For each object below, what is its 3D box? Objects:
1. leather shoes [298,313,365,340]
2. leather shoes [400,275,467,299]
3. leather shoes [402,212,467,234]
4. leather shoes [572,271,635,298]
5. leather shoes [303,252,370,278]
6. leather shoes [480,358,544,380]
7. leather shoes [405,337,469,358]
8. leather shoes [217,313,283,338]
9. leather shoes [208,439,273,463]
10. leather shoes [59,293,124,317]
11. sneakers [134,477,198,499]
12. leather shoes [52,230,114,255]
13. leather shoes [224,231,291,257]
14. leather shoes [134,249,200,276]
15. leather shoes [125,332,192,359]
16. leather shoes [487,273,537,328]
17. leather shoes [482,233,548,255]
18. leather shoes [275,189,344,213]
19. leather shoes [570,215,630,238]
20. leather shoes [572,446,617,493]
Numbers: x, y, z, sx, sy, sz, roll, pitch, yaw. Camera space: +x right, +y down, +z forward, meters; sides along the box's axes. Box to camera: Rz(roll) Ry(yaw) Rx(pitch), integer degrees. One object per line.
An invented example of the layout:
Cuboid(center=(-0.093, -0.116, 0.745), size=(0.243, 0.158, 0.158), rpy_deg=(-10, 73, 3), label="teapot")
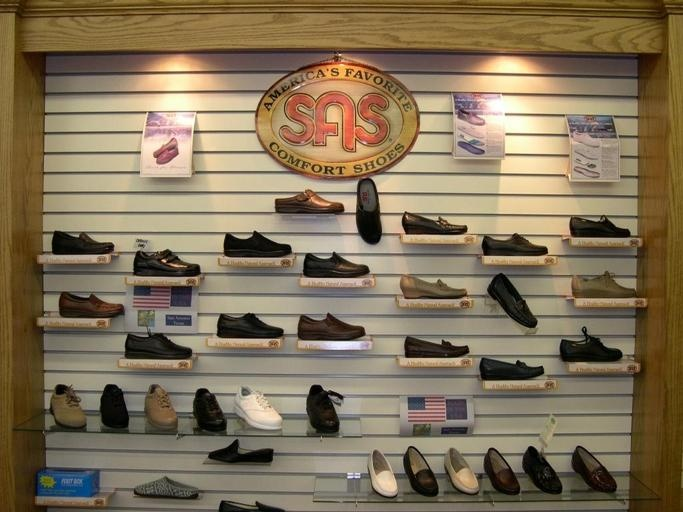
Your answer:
Cuboid(center=(-0.087, 0.548, 5.051), size=(0.540, 0.188, 0.190), rpy_deg=(0, -7, 1), label="leather shoes")
Cuboid(center=(0.728, 0.246, 5.077), size=(0.545, 0.184, 0.185), rpy_deg=(0, -7, -1), label="leather shoes")
Cuboid(center=(0.648, -0.245, 4.985), size=(0.552, 0.189, 0.175), rpy_deg=(1, -2, 0), label="leather shoes")
Cuboid(center=(1.919, 0.222, 5.064), size=(0.565, 0.201, 0.179), rpy_deg=(1, -9, 1), label="leather shoes")
Cuboid(center=(-0.050, 0.063, 5.045), size=(0.541, 0.191, 0.181), rpy_deg=(0, -3, -2), label="leather shoes")
Cuboid(center=(1.331, 0.865, 5.077), size=(0.522, 0.178, 0.171), rpy_deg=(0, -9, 1), label="leather shoes")
Cuboid(center=(0.714, 0.693, 5.058), size=(0.486, 0.158, 0.174), rpy_deg=(1, -8, 0), label="leather shoes")
Cuboid(center=(-0.668, 0.530, 5.072), size=(0.530, 0.184, 0.182), rpy_deg=(1, -7, -4), label="leather shoes")
Cuboid(center=(-0.749, 1.503, 5.112), size=(0.538, 0.176, 0.172), rpy_deg=(2, -18, -1), label="leather shoes")
Cuboid(center=(-1.929, 0.387, 5.137), size=(0.517, 0.179, 0.181), rpy_deg=(0, -5, -7), label="leather shoes")
Cuboid(center=(-1.306, 1.762, 5.080), size=(0.558, 0.176, 0.175), rpy_deg=(4, -11, -4), label="sneakers")
Cuboid(center=(-1.900, -0.096, 5.046), size=(0.543, 0.190, 0.175), rpy_deg=(0, -6, -5), label="leather shoes")
Cuboid(center=(-0.644, -0.078, 4.967), size=(0.571, 0.197, 0.179), rpy_deg=(1, -6, -3), label="leather shoes")
Cuboid(center=(-1.346, 0.053, 5.090), size=(0.544, 0.193, 0.188), rpy_deg=(1, -4, -4), label="leather shoes")
Cuboid(center=(-1.371, 0.682, 5.104), size=(0.522, 0.179, 0.191), rpy_deg=(1, -8, -6), label="leather shoes")
Cuboid(center=(1.277, 0.343, 5.031), size=(0.314, 0.437, 0.137), rpy_deg=(-8, -18, 12), label="leather shoes")
Cuboid(center=(1.282, -0.084, 5.099), size=(0.555, 0.190, 0.175), rpy_deg=(0, -4, 1), label="leather shoes")
Cuboid(center=(-0.245, -0.393, 4.998), size=(0.544, 0.176, 0.189), rpy_deg=(-1, -2, 4), label="leather shoes")
Cuboid(center=(1.935, -0.216, 5.037), size=(0.533, 0.168, 0.166), rpy_deg=(0, -3, 2), label="leather shoes")
Cuboid(center=(1.856, 1.585, 4.989), size=(0.161, 0.150, 0.416), rpy_deg=(-3, 19, -27), label="leather shoes")
